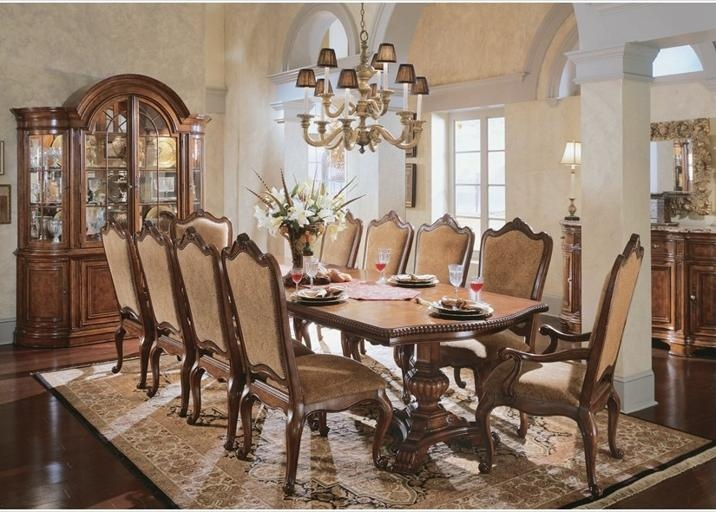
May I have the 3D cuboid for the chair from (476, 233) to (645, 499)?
[{"bbox_3d":[1.191,0.621,3.231,0.859,1.271,0.814,1,5,37],"label":"chair"}]

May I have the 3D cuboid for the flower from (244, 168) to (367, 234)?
[{"bbox_3d":[-0.370,-0.314,4.102,0.798,0.368,0.810,-1,0,-12],"label":"flower"}]

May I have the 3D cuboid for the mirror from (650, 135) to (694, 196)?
[{"bbox_3d":[3.352,-0.955,5.658,0.076,0.584,0.355,-18,18,-24],"label":"mirror"}]

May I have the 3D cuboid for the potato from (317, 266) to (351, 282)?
[{"bbox_3d":[-0.190,0.125,4.053,0.211,0.065,0.119,14,9,43],"label":"potato"}]

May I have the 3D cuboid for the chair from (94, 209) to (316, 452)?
[{"bbox_3d":[-1.085,0.563,3.730,0.690,1.133,1.653,-6,11,-38],"label":"chair"}]

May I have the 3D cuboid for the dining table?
[{"bbox_3d":[0.461,0.808,3.440,1.041,0.840,1.547,-2,0,-17],"label":"dining table"}]

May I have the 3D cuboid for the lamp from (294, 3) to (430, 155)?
[{"bbox_3d":[-0.013,-1.737,5.052,0.998,1.566,2.759,-1,9,-3],"label":"lamp"}]

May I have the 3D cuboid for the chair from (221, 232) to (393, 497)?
[{"bbox_3d":[-0.278,0.627,3.224,0.893,1.316,0.992,8,6,37],"label":"chair"}]
